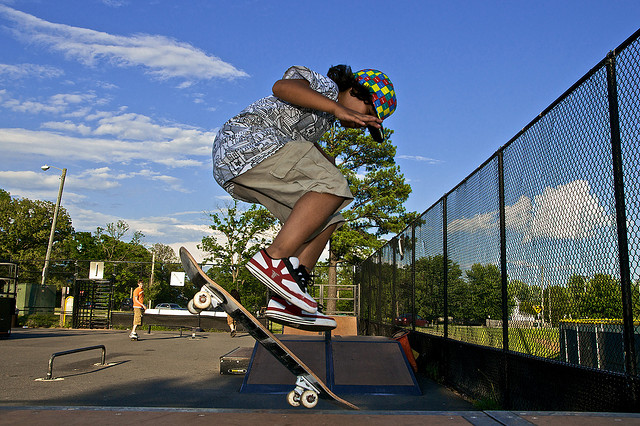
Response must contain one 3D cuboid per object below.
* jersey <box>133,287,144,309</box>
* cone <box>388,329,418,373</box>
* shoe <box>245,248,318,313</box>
[{"bbox_3d":[-6.812,3.177,16.453,0.350,0.780,0.494,10,-15,-23],"label":"jersey"},{"bbox_3d":[1.754,2.813,9.029,0.489,0.813,0.873,3,-14,2],"label":"cone"},{"bbox_3d":[-0.231,0.464,3.254,0.642,0.295,0.210,32,9,5],"label":"shoe"}]
